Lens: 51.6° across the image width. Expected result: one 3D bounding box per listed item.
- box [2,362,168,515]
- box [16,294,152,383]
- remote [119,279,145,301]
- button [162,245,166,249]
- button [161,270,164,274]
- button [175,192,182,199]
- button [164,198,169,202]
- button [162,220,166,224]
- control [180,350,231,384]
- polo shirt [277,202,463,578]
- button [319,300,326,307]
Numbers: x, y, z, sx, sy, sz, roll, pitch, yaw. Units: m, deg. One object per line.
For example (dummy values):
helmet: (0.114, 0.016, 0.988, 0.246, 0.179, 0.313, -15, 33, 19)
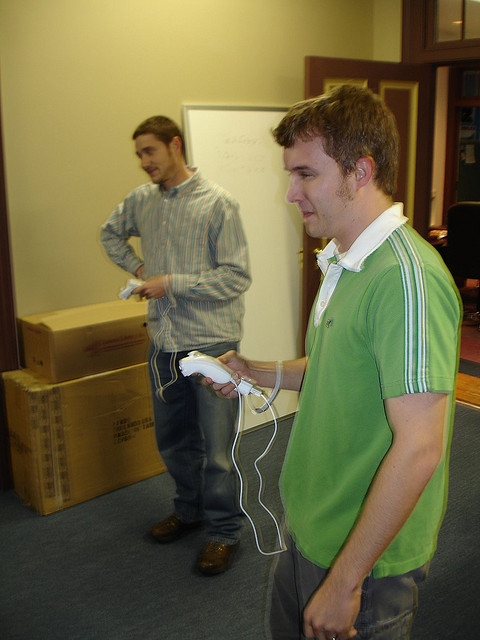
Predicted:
box: (-0.778, 0.575, 2.472, 0.783, 0.650, 0.289, -5, 13, -12)
box: (-0.730, 0.068, 2.591, 0.340, 0.280, 0.690, 14, 19, 41)
remote: (-0.432, -0.116, 1.917, 0.087, 0.075, 0.025, 1, 12, -5)
button: (-0.314, -0.301, 2.036, 0.016, 0.014, 0.004, -5, 9, 4)
button: (-0.321, -0.199, 2.045, 0.016, 0.015, 0.004, 3, 0, 18)
button: (-0.250, -0.508, 2.017, 0.023, 0.021, 0.005, 6, 8, 1)
button: (-0.305, -0.494, 2.039, 0.018, 0.016, 0.012, 1, -1, 0)
button: (-0.310, -0.400, 2.028, 0.013, 0.017, 0.005, 3, 1, 12)
control: (-0.062, 0.094, 1.162, 0.109, 0.065, 0.130, -10, 13, -42)
polo shirt: (0.205, 0.126, 0.767, 0.200, 0.594, 0.325, -7, 14, -18)
button: (0.137, -0.027, 0.817, 0.010, 0.007, 0.003, -7, -5, 19)
